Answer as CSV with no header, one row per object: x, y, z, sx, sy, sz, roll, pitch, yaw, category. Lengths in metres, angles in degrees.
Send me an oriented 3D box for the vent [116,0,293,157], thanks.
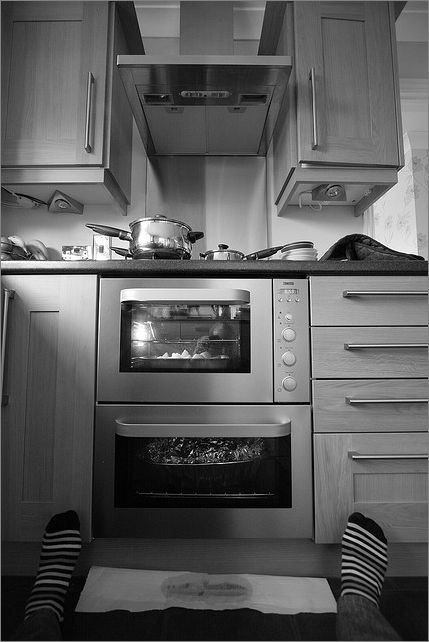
-0.054,-0.761,1.879,0.390,0.350,0.657,0,4,-1,vent

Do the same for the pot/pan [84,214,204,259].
-0.242,-0.254,1.652,0.289,0.139,0.183,1,-6,-1,pot/pan

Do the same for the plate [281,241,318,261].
0.282,-0.228,1.625,0.098,0.056,0.170,-1,9,-13,plate

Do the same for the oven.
-0.032,0.125,1.632,0.613,0.893,0.620,2,25,6,oven
